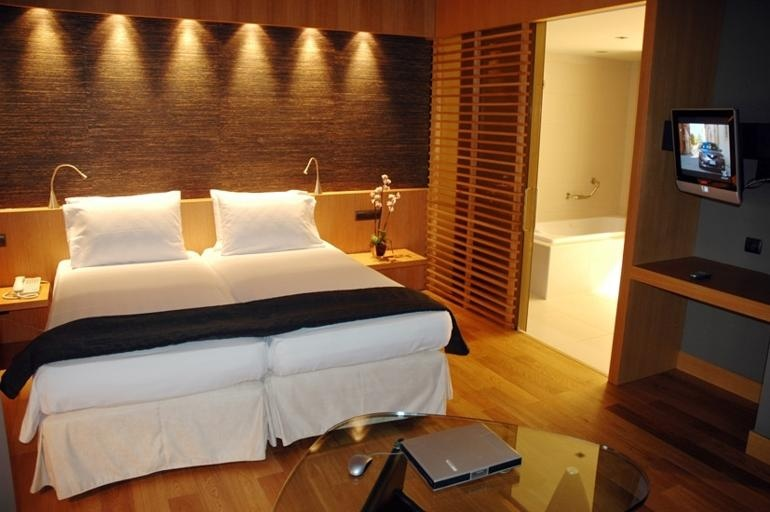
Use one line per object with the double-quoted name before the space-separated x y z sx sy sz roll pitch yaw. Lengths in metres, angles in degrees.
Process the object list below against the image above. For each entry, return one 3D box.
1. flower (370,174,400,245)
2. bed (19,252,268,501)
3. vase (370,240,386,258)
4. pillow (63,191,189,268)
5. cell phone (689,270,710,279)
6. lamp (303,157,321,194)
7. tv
"flower" 0.016 -0.545 5.923 0.330 0.721 0.611 -1 16 2
"bed" -1.671 0.801 3.994 1.545 1.070 1.448 -5 16 -15
"vase" -0.057 -0.081 5.755 0.191 0.199 0.171 -2 6 -22
"pillow" -2.294 -0.210 4.707 0.680 0.223 0.434 -8 59 -18
"cell phone" 2.388 0.147 4.041 0.223 0.083 0.054 0 0 -23
"lamp" -0.763 -0.836 5.665 0.182 0.391 0.266 -3 16 -7
"tv" 2.329 -0.744 3.877 0.096 0.794 0.748 -14 14 -19
